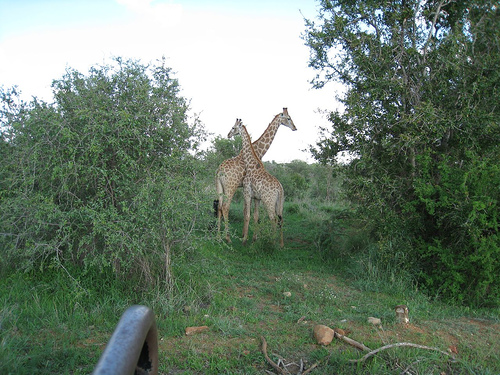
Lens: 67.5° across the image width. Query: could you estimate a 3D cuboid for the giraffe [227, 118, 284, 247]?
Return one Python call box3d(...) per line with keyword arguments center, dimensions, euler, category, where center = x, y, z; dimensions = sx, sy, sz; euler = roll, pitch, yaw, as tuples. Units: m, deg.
box3d(center=(0.162, -0.213, 11.467), dimensions=(1.668, 3.971, 3.157), euler=(0, -6, -3), category="giraffe")
